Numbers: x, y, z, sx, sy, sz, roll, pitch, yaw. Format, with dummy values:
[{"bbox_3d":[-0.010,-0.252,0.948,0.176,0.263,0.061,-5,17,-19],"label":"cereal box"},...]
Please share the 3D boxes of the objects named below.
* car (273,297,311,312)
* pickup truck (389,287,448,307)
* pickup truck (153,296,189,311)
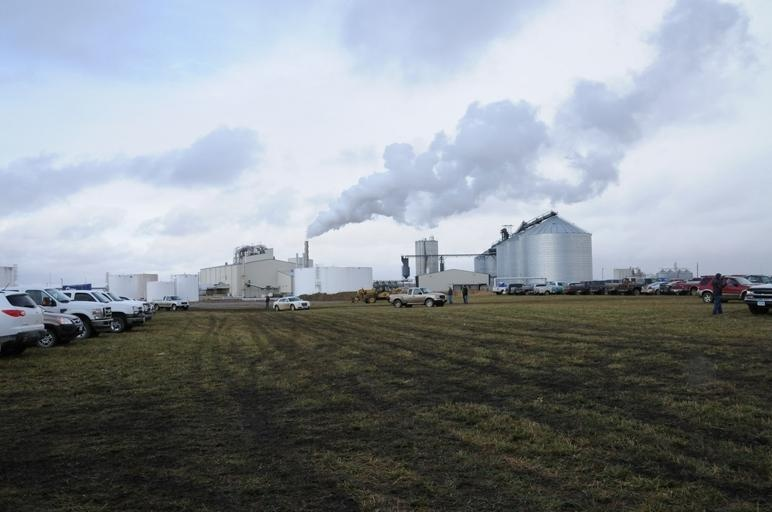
[{"bbox_3d":[-8.179,4.043,48.219,2.969,0.957,1.337,-8,-7,39],"label":"car"},{"bbox_3d":[2.318,3.076,41.711,3.598,1.220,1.718,-5,-4,34],"label":"pickup truck"},{"bbox_3d":[-20.112,4.485,53.644,3.582,1.279,1.537,-6,-5,31],"label":"pickup truck"}]
